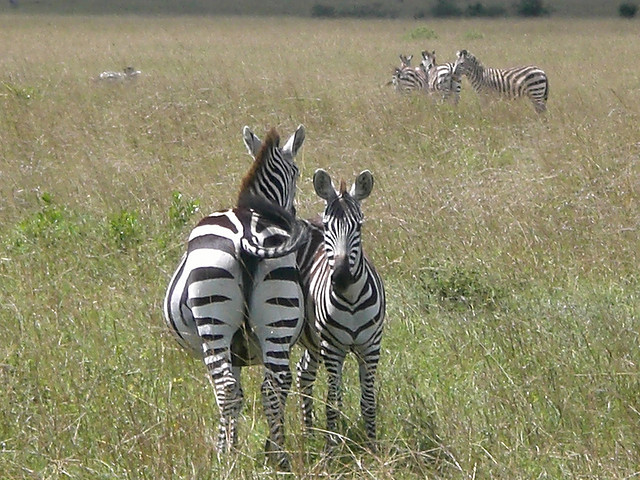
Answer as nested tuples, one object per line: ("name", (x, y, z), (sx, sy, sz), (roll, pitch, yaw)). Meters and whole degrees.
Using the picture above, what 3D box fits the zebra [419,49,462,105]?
("zebra", (2.831, -3.900, 24.428), (0.435, 1.345, 1.604), (9, 4, -41))
